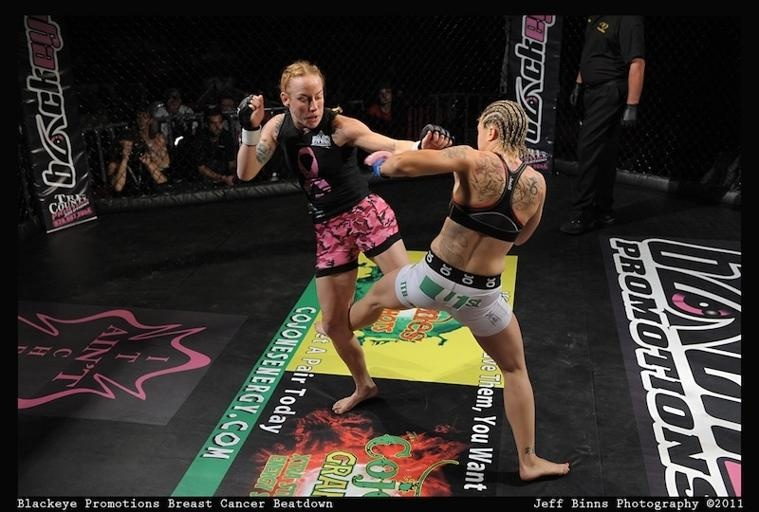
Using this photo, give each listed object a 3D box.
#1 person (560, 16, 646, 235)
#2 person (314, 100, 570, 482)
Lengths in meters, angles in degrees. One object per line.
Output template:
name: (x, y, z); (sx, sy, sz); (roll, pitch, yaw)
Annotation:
person: (2.277, -1.337, 5.026); (0.595, 2.157, 0.592); (-13, 28, -24)
person: (0.534, 0.214, 2.534); (1.180, 1.916, 0.562); (11, 28, 22)
